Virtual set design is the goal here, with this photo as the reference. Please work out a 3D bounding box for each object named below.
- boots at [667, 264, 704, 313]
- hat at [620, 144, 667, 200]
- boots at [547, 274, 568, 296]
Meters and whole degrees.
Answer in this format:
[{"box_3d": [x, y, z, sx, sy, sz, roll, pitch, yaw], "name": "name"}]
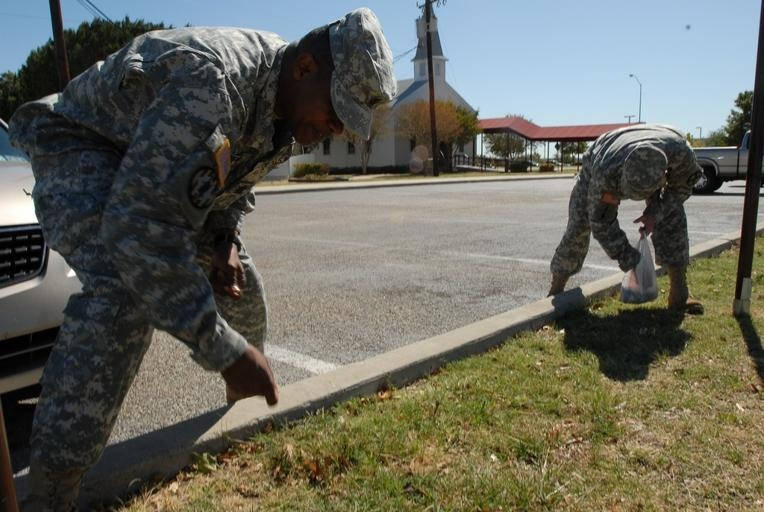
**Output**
[{"box_3d": [2.521, 0.236, 4.997, 0.269, 0.412, 0.175, -1, 16, 16], "name": "boots"}, {"box_3d": [1.992, -0.631, 4.729, 0.274, 0.446, 0.391, 19, 3, 12], "name": "hat"}, {"box_3d": [1.577, 0.262, 5.391, 0.069, 0.234, 0.074, 26, 39, 14], "name": "boots"}]
